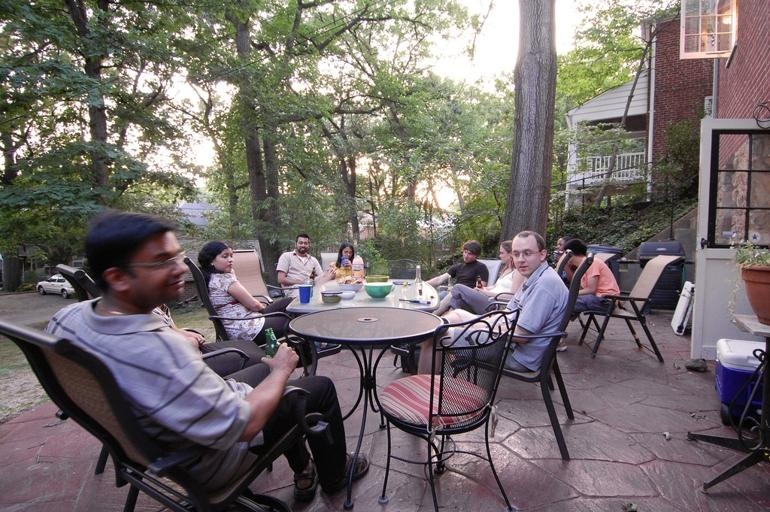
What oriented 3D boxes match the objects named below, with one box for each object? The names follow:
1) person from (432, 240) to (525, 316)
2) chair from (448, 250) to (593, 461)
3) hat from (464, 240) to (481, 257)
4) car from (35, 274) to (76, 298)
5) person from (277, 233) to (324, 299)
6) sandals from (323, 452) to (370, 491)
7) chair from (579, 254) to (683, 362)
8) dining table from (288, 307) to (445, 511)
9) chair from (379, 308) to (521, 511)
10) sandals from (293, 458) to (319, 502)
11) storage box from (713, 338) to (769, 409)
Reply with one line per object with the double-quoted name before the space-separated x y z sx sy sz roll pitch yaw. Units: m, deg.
"person" 1.236 0.383 7.075 1.492 0.923 0.543 -8 -5 9
"chair" 1.634 1.187 6.516 1.924 2.498 1.576 0 -1 26
"hat" 1.387 -0.128 8.048 0.233 0.265 0.297 11 11 36
"car" -11.375 1.070 17.341 1.735 0.705 0.790 6 0 19
"person" -1.283 0.163 8.162 0.866 1.046 0.804 1 -10 -13
"sandals" -0.348 2.099 4.868 0.211 0.213 0.520 13 20 36
"chair" 3.795 0.710 7.788 1.797 1.929 1.411 0 0 9
"dining table" -0.206 1.471 5.571 1.754 1.777 1.851 2 4 44
"chair" 0.598 1.438 4.966 1.374 1.852 1.000 -4 5 -5
"sandals" -0.735 2.132 4.783 0.175 0.173 0.457 -1 0 1
"storage box" 3.943 1.122 5.640 0.603 0.648 1.007 -1 -2 32
